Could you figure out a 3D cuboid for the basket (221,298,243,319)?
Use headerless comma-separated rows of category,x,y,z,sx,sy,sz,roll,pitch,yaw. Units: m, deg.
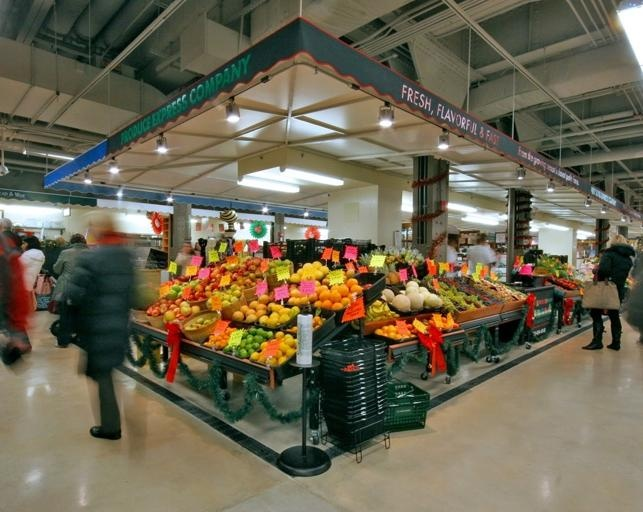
basket,-1.051,0.632,5.104,0.255,0.122,0.239,-4,3,23

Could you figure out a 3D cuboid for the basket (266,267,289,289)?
basket,-0.530,0.328,5.497,0.318,0.175,0.259,0,0,-4

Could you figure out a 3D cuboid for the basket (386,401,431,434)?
basket,0.886,1.629,4.605,0.559,0.285,0.285,1,-8,-15

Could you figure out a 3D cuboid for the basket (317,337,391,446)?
basket,0.291,1.319,4.519,0.803,0.855,0.666,1,2,-10

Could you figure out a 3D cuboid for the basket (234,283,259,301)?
basket,-0.921,0.484,5.347,0.181,0.110,0.183,-1,0,39

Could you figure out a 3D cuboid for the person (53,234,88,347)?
person,-3.842,0.527,6.822,0.613,1.573,0.572,8,2,32

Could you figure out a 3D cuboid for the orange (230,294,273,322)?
orange,-0.786,0.637,5.037,0.427,0.104,0.233,-26,39,-21

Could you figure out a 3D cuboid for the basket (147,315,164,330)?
basket,-2.029,0.820,5.385,0.225,0.125,0.208,2,1,19

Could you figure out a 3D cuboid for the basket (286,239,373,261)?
basket,0.110,-0.006,6.056,1.123,0.329,0.531,-2,10,-15

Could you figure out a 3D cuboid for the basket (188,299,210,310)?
basket,-1.502,0.616,5.410,0.188,0.088,0.169,2,-6,-30

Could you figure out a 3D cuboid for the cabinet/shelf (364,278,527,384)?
cabinet/shelf,1.556,0.991,5.666,1.663,0.430,0.472,-2,2,-39

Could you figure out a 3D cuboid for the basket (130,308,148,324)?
basket,-2.379,0.798,5.752,0.210,0.073,0.182,1,2,-15

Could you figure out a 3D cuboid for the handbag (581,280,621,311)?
handbag,4.522,0.675,7.121,0.502,0.438,0.371,6,11,28

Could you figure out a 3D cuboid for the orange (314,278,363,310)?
orange,0.140,0.448,4.776,0.345,0.111,0.344,-6,12,35

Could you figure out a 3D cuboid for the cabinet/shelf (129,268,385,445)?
cabinet/shelf,-0.556,0.845,5.019,2.120,0.399,2.021,1,1,44

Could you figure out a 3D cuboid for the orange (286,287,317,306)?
orange,-0.232,0.501,4.940,0.235,0.072,0.217,-2,10,11

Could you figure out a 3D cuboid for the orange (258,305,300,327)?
orange,-0.472,0.674,4.832,0.258,0.079,0.314,10,19,40

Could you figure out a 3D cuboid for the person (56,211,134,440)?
person,-2.125,0.726,4.368,0.473,2.083,0.439,2,11,7
